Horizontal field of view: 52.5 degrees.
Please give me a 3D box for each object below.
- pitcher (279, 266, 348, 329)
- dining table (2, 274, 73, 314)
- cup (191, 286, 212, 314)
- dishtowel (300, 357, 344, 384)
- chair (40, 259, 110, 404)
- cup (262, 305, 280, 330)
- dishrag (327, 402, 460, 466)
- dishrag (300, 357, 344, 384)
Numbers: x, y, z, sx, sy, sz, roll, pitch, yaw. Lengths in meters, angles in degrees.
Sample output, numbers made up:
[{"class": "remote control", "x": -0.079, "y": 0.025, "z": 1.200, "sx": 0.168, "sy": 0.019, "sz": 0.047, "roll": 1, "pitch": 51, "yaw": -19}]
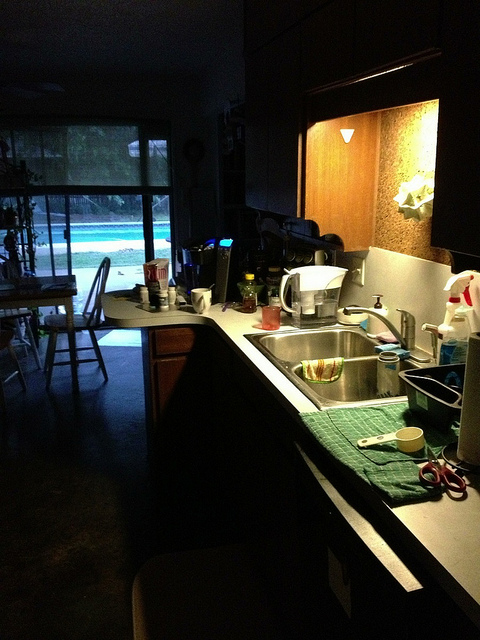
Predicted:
[{"class": "pitcher", "x": 0.314, "y": -0.122, "z": 2.120, "sx": 0.294, "sy": 0.305, "sz": 0.180, "roll": -4, "pitch": 17, "yaw": -8}, {"class": "dining table", "x": -1.743, "y": -0.246, "z": 4.206, "sx": 0.567, "sy": 0.203, "sz": 1.209, "roll": -5, "pitch": 13, "yaw": -19}, {"class": "cup", "x": -0.195, "y": -0.097, "z": 2.479, "sx": 0.077, "sy": 0.124, "sz": 0.129, "roll": -1, "pitch": 15, "yaw": -3}, {"class": "dishtowel", "x": 0.270, "y": 0.163, "z": 1.592, "sx": 0.163, "sy": 0.079, "sz": 0.079, "roll": -10, "pitch": 15, "yaw": -34}, {"class": "chair", "x": -1.441, "y": -0.048, "z": 4.318, "sx": 0.505, "sy": 1.226, "sz": 0.557, "roll": 1, "pitch": 11, "yaw": -31}, {"class": "cup", "x": 0.131, "y": -0.014, "z": 2.131, "sx": 0.079, "sy": 0.101, "sz": 0.087, "roll": 11, "pitch": 23, "yaw": 16}, {"class": "dishrag", "x": 0.333, "y": 0.248, "z": 1.047, "sx": 0.122, "sy": 0.011, "sz": 0.136, "roll": -4, "pitch": 15, "yaw": -13}, {"class": "dishrag", "x": 0.261, "y": 0.159, "z": 1.572, "sx": 0.091, "sy": 0.097, "sz": 0.032, "roll": -7, "pitch": 17, "yaw": -8}]
